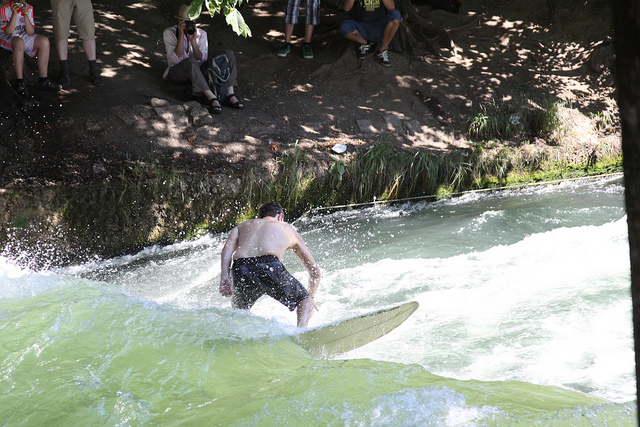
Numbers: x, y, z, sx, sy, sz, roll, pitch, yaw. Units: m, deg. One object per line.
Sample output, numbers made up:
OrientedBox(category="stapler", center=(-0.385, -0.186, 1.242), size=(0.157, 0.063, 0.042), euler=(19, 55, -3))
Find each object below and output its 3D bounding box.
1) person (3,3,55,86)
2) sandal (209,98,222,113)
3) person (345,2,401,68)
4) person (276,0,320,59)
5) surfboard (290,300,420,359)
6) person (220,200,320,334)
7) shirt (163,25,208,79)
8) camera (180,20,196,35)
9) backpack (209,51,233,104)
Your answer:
OrientedBox(category="person", center=(-4.784, -2.725, 9.870), size=(0.673, 1.301, 0.351), euler=(-7, 11, -29))
OrientedBox(category="sandal", center=(-1.845, -1.887, 10.615), size=(0.210, 0.247, 0.221), euler=(-2, 11, -2))
OrientedBox(category="person", center=(1.074, -3.724, 12.656), size=(1.069, 1.790, 1.220), euler=(0, 16, 3))
OrientedBox(category="person", center=(-0.456, -3.686, 12.252), size=(0.821, 1.139, 0.496), euler=(-8, 12, -29))
OrientedBox(category="surfboard", center=(0.458, 1.531, 7.922), size=(1.604, 0.372, 0.229), euler=(-17, 28, -27))
OrientedBox(category="person", center=(-0.698, 0.910, 8.247), size=(1.108, 2.430, 1.173), euler=(0, -23, -1))
OrientedBox(category="shirt", center=(-2.411, -2.864, 10.772), size=(0.780, 0.950, 0.850), euler=(-2, 9, -9))
OrientedBox(category="camera", center=(-2.273, -3.197, 10.457), size=(0.237, 0.245, 0.156), euler=(-6, 11, -20))
OrientedBox(category="backpack", center=(-1.822, -2.389, 10.817), size=(0.356, 0.777, 0.562), euler=(11, 24, 9))
